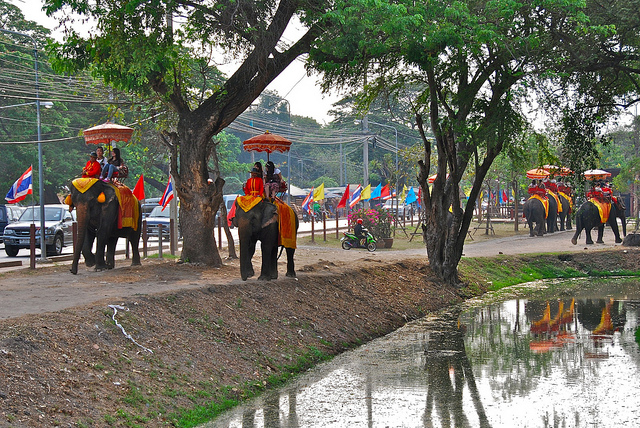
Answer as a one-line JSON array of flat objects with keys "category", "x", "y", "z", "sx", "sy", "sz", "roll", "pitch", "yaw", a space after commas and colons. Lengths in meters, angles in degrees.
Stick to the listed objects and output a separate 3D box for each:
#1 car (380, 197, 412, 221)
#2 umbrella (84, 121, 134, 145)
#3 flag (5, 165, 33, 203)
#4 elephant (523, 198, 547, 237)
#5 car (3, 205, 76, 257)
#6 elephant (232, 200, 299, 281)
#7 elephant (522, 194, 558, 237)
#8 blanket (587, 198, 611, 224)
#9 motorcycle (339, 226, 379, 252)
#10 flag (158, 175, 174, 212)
[{"category": "car", "x": 5.763, "y": -0.433, "z": 62.299, "sx": 1.984, "sy": 1.625, "sz": 3.667, "roll": -1, "pitch": -7, "yaw": 12}, {"category": "umbrella", "x": -6.288, "y": -2.377, "z": 24.808, "sx": 0.933, "sy": 0.401, "sz": 0.876, "roll": -4, "pitch": 5, "yaw": -4}, {"category": "flag", "x": -11.376, "y": -1.133, "z": 32.147, "sx": 0.735, "sy": 1.649, "sz": 3.656, "roll": -2, "pitch": 9, "yaw": -19}, {"category": "elephant", "x": 10.178, "y": 0.107, "z": 39.884, "sx": 0.953, "sy": 1.812, "sz": 1.432, "roll": 5, "pitch": 10, "yaw": 18}, {"category": "car", "x": -10.746, "y": 0.577, "z": 32.993, "sx": 2.316, "sy": 1.761, "sz": 4.252, "roll": -1, "pitch": -4, "yaw": 8}, {"category": "elephant", "x": -1.440, "y": 0.713, "z": 22.423, "sx": 1.636, "sy": 2.116, "sz": 0.948, "roll": -4, "pitch": 11, "yaw": -29}, {"category": "elephant", "x": 10.689, "y": -0.023, "z": 40.941, "sx": 1.177, "sy": 2.017, "sz": 3.816, "roll": -5, "pitch": 0, "yaw": 28}, {"category": "blanket", "x": 11.852, "y": -0.141, "z": 35.786, "sx": 0.757, "sy": 0.944, "sz": 0.922, "roll": 6, "pitch": 10, "yaw": 27}, {"category": "motorcycle", "x": 1.572, "y": 1.021, "z": 34.511, "sx": 1.500, "sy": 0.852, "sz": 0.664, "roll": 3, "pitch": 1, "yaw": 14}, {"category": "flag", "x": -5.467, "y": -0.817, "z": 30.175, "sx": 0.300, "sy": 1.448, "sz": 2.705, "roll": -1, "pitch": 9, "yaw": -14}]
